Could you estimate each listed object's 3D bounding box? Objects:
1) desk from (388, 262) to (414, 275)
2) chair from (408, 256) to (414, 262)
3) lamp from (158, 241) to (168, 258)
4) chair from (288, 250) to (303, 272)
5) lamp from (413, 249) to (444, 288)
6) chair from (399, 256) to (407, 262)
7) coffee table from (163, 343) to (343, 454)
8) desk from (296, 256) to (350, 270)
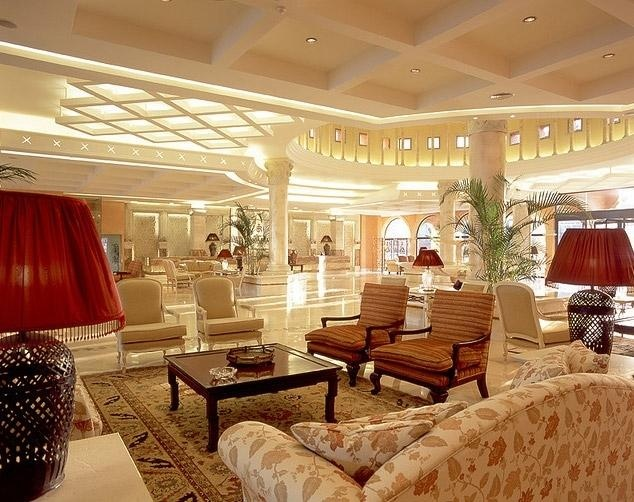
[{"bbox_3d":[3.961,0.746,19.429,0.938,0.597,2.833,-10,-5,5],"label":"desk"},{"bbox_3d":[5.112,0.419,22.061,0.289,0.361,0.301,-1,-4,-3],"label":"chair"},{"bbox_3d":[-8.209,-0.122,21.412,0.498,0.922,0.590,-8,-5,-17],"label":"lamp"},{"bbox_3d":[-1.185,0.522,21.229,0.672,1.198,1.262,-3,-1,15],"label":"chair"},{"bbox_3d":[2.135,0.367,7.772,0.635,0.722,0.637,0,-4,17],"label":"lamp"},{"bbox_3d":[4.629,0.415,21.948,0.305,0.396,0.329,1,-6,-9],"label":"chair"},{"bbox_3d":[-0.648,1.390,3.871,1.247,0.511,1.234,4,-9,-34],"label":"coffee table"},{"bbox_3d":[0.262,0.723,23.150,2.050,0.742,3.269,-12,-6,25],"label":"desk"}]
